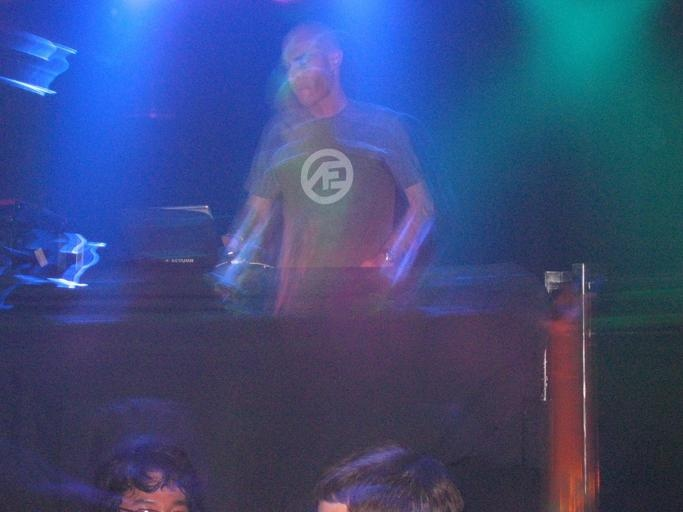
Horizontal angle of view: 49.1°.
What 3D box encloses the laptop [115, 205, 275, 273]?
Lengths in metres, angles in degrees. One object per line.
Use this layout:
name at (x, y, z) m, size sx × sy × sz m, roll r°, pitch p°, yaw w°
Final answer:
laptop at (-0.725, -0.093, 3.247) m, size 0.385 × 0.104 × 0.410 m, roll -4°, pitch 25°, yaw -22°
